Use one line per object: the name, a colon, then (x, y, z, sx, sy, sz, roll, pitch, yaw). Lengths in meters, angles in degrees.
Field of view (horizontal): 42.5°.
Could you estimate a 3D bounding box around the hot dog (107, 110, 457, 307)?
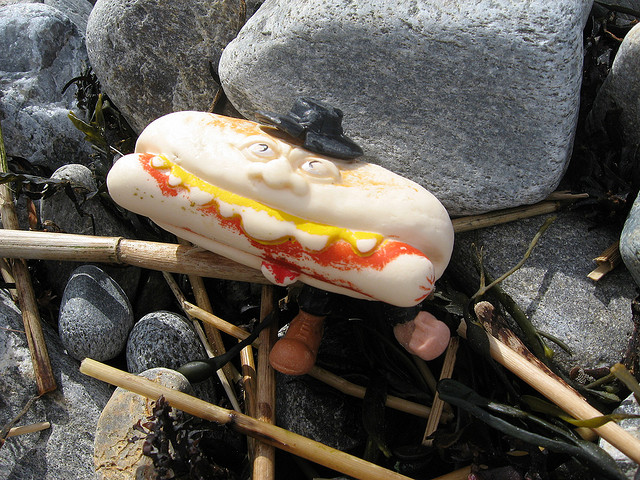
hot dog: (-0.114, -0.097, 2.743, 1.105, 0.367, 0.459, 16, 57, 11)
